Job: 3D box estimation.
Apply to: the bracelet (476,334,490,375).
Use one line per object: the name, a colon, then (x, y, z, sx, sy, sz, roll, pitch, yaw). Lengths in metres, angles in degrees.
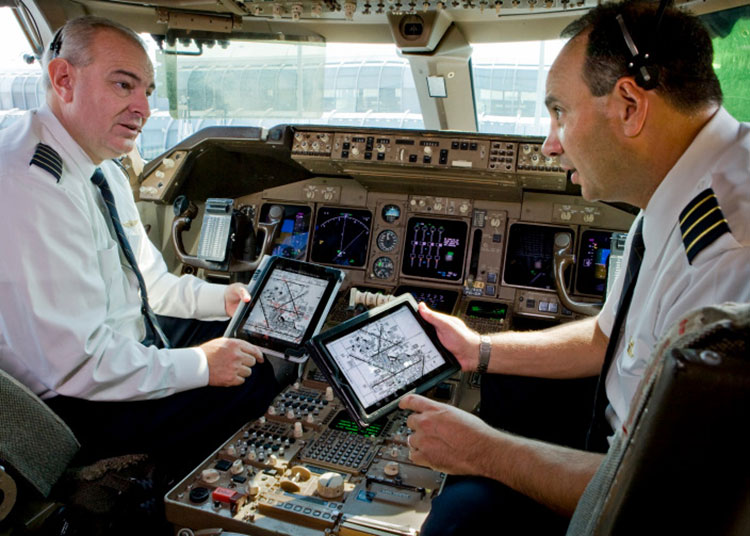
bracelet: (0.405, 0.325, 2.024, 0.048, 0.102, 0.108, 3, 35, 5)
